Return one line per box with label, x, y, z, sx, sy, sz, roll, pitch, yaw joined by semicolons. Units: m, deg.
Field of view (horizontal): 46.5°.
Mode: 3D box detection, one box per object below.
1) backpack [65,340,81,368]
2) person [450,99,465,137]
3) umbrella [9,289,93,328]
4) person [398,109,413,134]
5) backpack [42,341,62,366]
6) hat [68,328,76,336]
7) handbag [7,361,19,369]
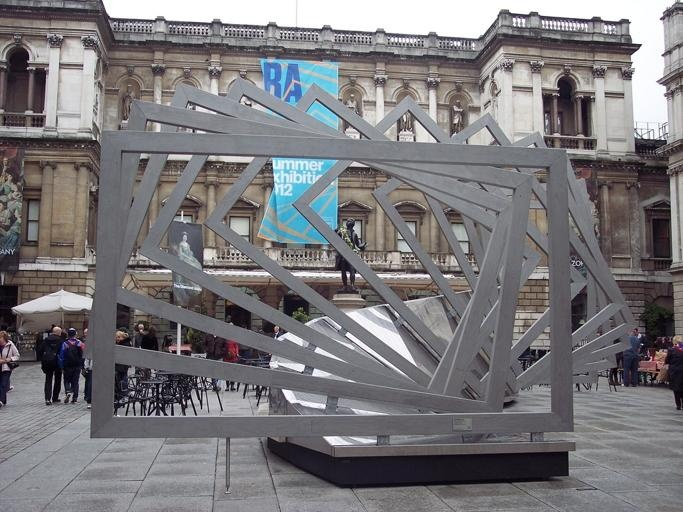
backpack;-6.962;2.506;20.520;0.554;0.836;0.419;4;-14;-28
person;6.625;-7.971;45.073;1.015;2.045;0.992;-1;1;-28
umbrella;-11.963;2.158;32.830;2.285;1.045;2.191;-19;-17;40
person;3.490;-7.200;42.968;0.841;1.032;1.332;0;1;5
backpack;-7.415;2.473;20.267;0.423;0.645;0.335;8;-25;-21
hat;-7.051;1.998;20.785;0.194;0.207;0.214;3;15;20
handbag;-8.137;2.696;19.630;0.142;0.080;0.193;4;9;-10
